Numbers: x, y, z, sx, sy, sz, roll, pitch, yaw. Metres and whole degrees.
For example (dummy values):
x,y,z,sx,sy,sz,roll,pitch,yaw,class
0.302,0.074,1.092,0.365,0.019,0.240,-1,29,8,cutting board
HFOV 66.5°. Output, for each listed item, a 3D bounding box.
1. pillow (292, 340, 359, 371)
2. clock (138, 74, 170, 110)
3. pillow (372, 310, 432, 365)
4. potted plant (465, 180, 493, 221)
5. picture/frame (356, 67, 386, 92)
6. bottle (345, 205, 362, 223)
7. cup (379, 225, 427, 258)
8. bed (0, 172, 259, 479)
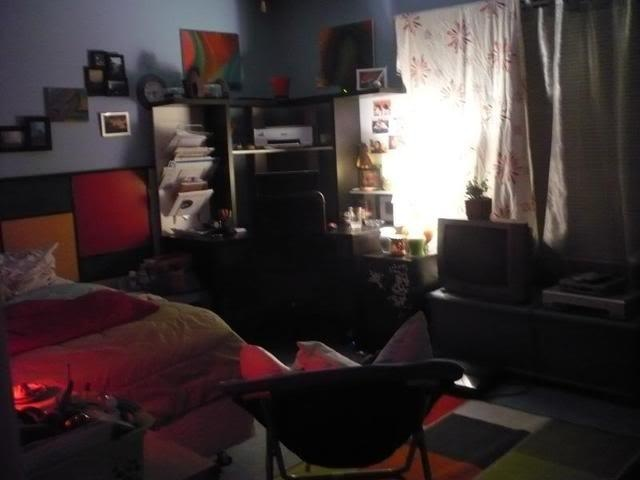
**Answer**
x,y,z,sx,sy,sz,roll,pitch,yaw,class
0.008,0.485,2.027,0.185,0.065,0.158,14,-1,1,pillow
-1.500,-1.317,4.376,0.249,0.298,0.135,-5,10,-16,clock
0.340,0.401,1.924,0.226,0.203,0.219,-3,11,-6,pillow
1.180,-0.301,3.641,0.189,0.275,0.255,1,11,19,potted plant
0.453,-1.396,4.297,0.310,0.229,0.025,1,-5,26,picture/frame
0.298,-0.214,4.232,0.141,0.118,0.161,5,13,34,bottle
0.656,0.015,3.901,0.421,0.184,0.268,5,13,35,cup
-1.279,0.197,3.269,1.375,1.424,2.114,-6,8,-38,bed
